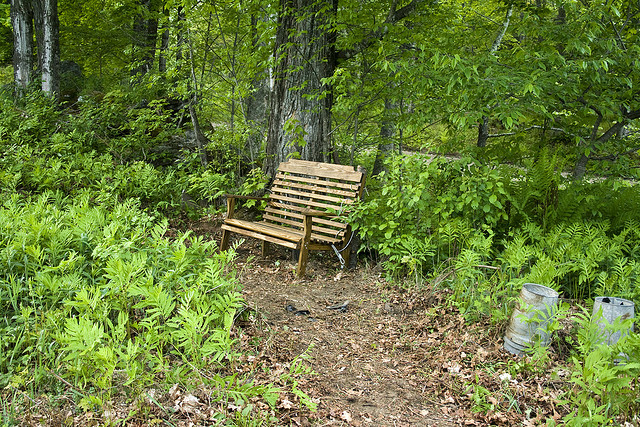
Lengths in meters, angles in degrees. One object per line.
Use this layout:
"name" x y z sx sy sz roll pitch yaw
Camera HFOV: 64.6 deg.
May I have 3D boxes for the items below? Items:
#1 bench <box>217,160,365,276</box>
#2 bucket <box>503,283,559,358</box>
"bench" -0.520 0.012 7.420 1.261 1.508 1.894 -7 16 -44
"bucket" 2.148 1.085 5.125 0.358 0.720 0.340 8 8 -1
